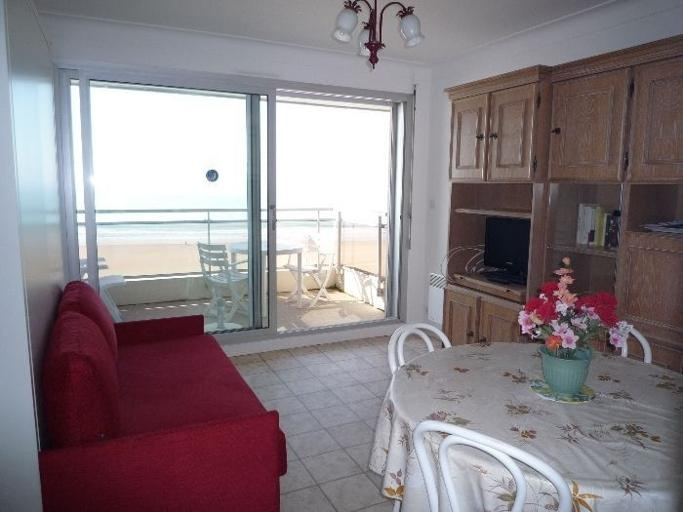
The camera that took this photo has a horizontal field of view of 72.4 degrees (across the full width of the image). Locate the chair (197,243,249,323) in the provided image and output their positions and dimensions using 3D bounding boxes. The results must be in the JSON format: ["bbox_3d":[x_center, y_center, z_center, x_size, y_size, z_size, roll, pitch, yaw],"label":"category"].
[{"bbox_3d":[-1.212,0.262,5.059,0.523,0.809,0.589,5,9,26],"label":"chair"}]

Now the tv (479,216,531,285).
[{"bbox_3d":[1.543,-0.010,4.370,0.746,0.719,0.071,-2,3,-32],"label":"tv"}]

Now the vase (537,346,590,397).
[{"bbox_3d":[1.090,0.567,2.339,0.220,0.179,0.232,0,3,-7],"label":"vase"}]

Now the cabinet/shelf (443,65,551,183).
[{"bbox_3d":[1.386,-1.107,4.188,0.298,0.902,0.997,-10,14,-34],"label":"cabinet/shelf"}]

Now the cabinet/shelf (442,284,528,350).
[{"bbox_3d":[1.257,0.520,4.001,0.203,0.547,0.573,-2,5,-21],"label":"cabinet/shelf"}]

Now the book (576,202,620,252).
[{"bbox_3d":[2.057,-0.234,3.757,0.440,0.426,0.314,-5,8,-42],"label":"book"}]

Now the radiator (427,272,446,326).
[{"bbox_3d":[1.155,0.476,5.643,0.259,0.473,0.046,19,-15,-26],"label":"radiator"}]

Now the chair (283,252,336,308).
[{"bbox_3d":[-0.428,0.466,7.561,0.819,0.866,0.978,10,11,9],"label":"chair"}]
